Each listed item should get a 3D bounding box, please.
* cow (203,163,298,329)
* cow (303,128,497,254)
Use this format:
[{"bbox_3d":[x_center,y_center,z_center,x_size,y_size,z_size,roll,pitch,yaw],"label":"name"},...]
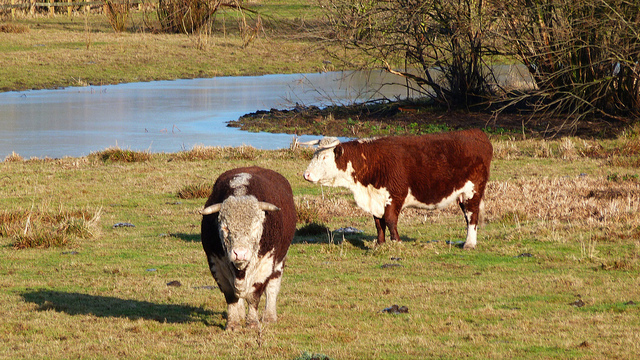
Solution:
[{"bbox_3d":[-3.641,3.357,65.450,4.572,7.816,6.834,0,8,-3],"label":"cow"},{"bbox_3d":[4.496,0.629,69.395,10.031,6.623,2.996,-1,5,-9],"label":"cow"}]
